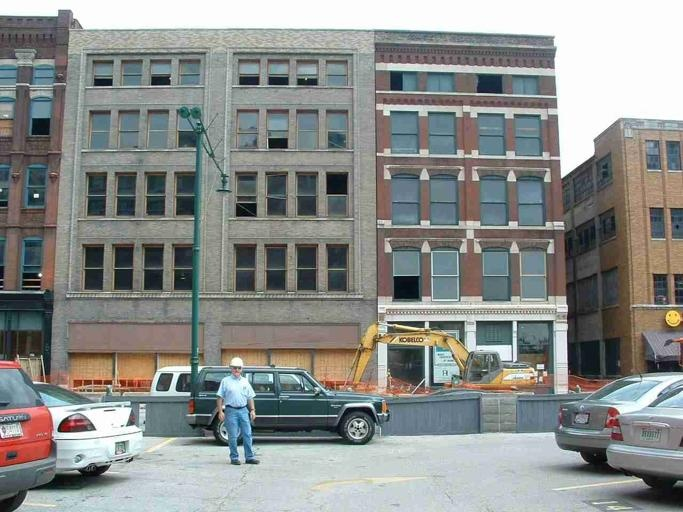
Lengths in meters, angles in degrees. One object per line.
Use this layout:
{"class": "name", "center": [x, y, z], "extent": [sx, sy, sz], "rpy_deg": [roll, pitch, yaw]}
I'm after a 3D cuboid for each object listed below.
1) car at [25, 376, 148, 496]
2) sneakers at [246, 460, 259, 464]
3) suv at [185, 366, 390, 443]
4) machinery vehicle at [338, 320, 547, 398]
{"class": "car", "center": [-6.304, 3.874, 19.816], "extent": [3.355, 1.062, 1.540], "rpy_deg": [1, -2, 32]}
{"class": "sneakers", "center": [-2.184, 5.086, 21.591], "extent": [0.343, 0.124, 0.116], "rpy_deg": [-1, -4, -2]}
{"class": "suv", "center": [-1.639, 4.506, 26.443], "extent": [5.704, 2.016, 2.420], "rpy_deg": [-1, -8, -4]}
{"class": "machinery vehicle", "center": [4.264, 4.262, 37.037], "extent": [8.218, 2.704, 2.160], "rpy_deg": [-1, 1, -12]}
